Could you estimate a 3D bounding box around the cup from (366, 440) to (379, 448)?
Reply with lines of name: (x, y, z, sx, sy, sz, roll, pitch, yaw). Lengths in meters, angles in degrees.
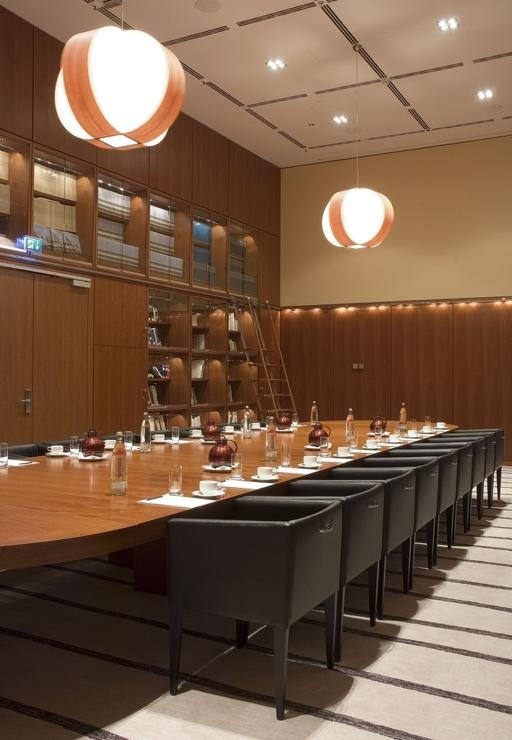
cup: (0.903, 0.575, 4.206, 0.066, 0.068, 0.092, 0, -7, -6)

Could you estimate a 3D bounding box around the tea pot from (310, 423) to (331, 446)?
tea pot: (0.519, 0.496, 4.170, 0.167, 0.199, 0.129, 4, -8, -10)

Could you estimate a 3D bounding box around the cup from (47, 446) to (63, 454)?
cup: (-1.439, 0.568, 3.864, 0.085, 0.049, 0.069, -2, -1, 15)

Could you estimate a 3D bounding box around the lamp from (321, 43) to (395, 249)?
lamp: (1.440, -2.777, 7.413, 0.806, 2.949, 2.868, -1, -6, 15)

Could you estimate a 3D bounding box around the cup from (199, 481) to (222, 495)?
cup: (-0.186, 0.485, 2.255, 0.080, 0.070, 0.066, 3, -1, 16)

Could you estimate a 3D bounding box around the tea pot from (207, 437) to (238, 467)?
tea pot: (-0.153, 0.467, 3.059, 0.185, 0.200, 0.158, 9, -10, -42)

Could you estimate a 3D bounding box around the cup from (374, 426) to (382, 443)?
cup: (1.101, 0.574, 4.871, 0.077, 0.141, 0.082, -1, 14, 0)

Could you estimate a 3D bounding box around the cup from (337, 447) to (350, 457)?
cup: (0.599, 0.555, 3.697, 0.052, 0.052, 0.062, -4, -11, 20)

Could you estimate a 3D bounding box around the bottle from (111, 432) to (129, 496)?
bottle: (-0.575, 0.407, 2.282, 0.056, 0.218, 0.184, 2, -6, -17)

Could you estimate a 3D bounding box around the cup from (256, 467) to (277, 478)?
cup: (0.052, 0.507, 2.705, 0.051, 0.045, 0.085, -3, -11, 14)

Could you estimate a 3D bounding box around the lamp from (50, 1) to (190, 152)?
lamp: (-0.748, -1.468, 3.080, 0.598, 0.566, 0.700, 0, -9, -7)

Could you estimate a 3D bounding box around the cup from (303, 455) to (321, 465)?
cup: (0.327, 0.528, 3.186, 0.056, 0.050, 0.096, -1, -10, 2)
